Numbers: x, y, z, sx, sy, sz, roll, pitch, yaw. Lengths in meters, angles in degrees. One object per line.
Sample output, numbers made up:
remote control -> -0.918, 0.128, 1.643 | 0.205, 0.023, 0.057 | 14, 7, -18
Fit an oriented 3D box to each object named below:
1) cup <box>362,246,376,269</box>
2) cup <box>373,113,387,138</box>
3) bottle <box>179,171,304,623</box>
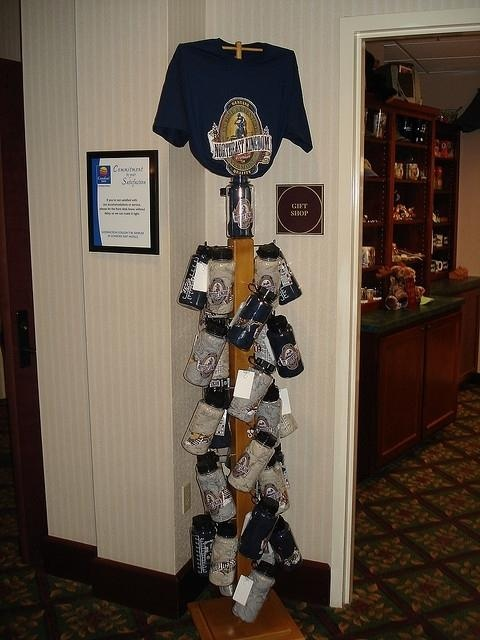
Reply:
cup -> 0.879, -0.422, 3.581 | 0.064, 0.144, 0.276 | 3, 8, 23
cup -> 0.916, -1.273, 3.457 | 0.131, 0.157, 0.071 | -5, 9, -41
bottle -> 0.019, 0.298, 1.766 | 0.370, 1.543, 0.379 | 0, 6, 0
